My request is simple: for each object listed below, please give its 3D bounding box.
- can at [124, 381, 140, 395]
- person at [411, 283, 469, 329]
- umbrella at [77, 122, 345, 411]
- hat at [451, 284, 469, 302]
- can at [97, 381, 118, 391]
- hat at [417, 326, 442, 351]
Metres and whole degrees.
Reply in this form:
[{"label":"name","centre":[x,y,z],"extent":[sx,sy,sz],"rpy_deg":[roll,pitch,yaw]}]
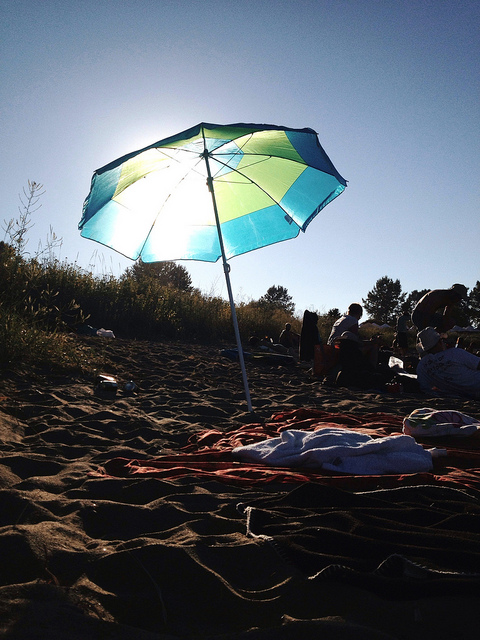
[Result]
[{"label":"can","centre":[-1.065,0.672,5.177],"extent":[0.132,0.122,0.097],"rpy_deg":[-10,11,-44]},{"label":"person","centre":[2.982,-0.147,7.784],"extent":[0.660,0.601,0.761],"rpy_deg":[-3,-9,-3]},{"label":"umbrella","centre":[-0.148,-0.429,4.733],"extent":[2.356,2.169,2.357],"rpy_deg":[-12,1,-22]},{"label":"hat","centre":[3.186,-0.378,7.598],"extent":[0.201,0.193,0.346],"rpy_deg":[-7,-10,25]},{"label":"can","centre":[-1.217,0.617,4.860],"extent":[0.092,0.070,0.148],"rpy_deg":[0,4,-26]},{"label":"hat","centre":[2.403,0.244,6.676],"extent":[0.281,0.295,0.221],"rpy_deg":[-9,-11,33]}]
